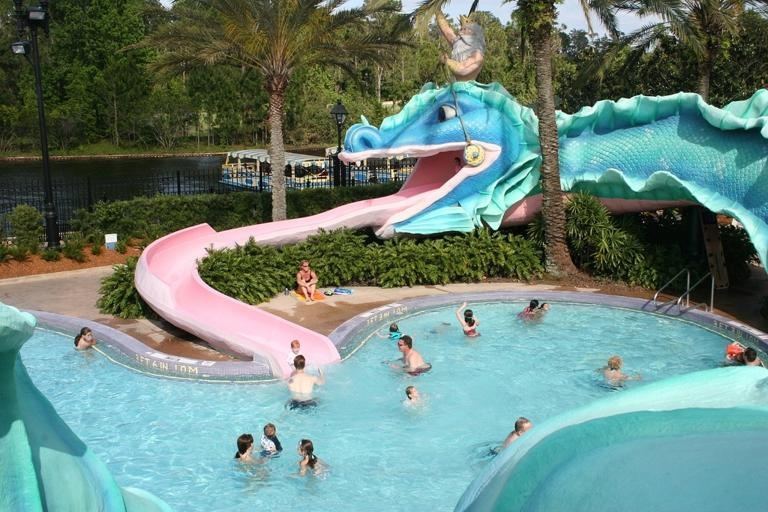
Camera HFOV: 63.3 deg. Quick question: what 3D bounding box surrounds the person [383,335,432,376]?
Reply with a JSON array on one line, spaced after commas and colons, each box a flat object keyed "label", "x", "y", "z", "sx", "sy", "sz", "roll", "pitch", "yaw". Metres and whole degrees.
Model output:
[{"label": "person", "x": 0.477, "y": 1.928, "z": 12.297, "sx": 0.817, "sy": 0.648, "sz": 0.617, "roll": 4, "pitch": 10, "yaw": 10}]

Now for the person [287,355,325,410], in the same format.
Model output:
[{"label": "person", "x": -1.452, "y": 2.343, "z": 11.340, "sx": 0.576, "sy": 1.163, "sz": 0.708, "roll": 4, "pitch": 22, "yaw": 5}]

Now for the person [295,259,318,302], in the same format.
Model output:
[{"label": "person", "x": -1.969, "y": 0.646, "z": 15.999, "sx": 0.550, "sy": 0.923, "sz": 0.854, "roll": -4, "pitch": 14, "yaw": -17}]

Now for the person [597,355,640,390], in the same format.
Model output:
[{"label": "person", "x": 4.480, "y": 2.143, "z": 11.856, "sx": 0.682, "sy": 0.450, "sz": 0.857, "roll": -5, "pitch": 13, "yaw": 4}]

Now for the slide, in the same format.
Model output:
[{"label": "slide", "x": -2.405, "y": 0.592, "z": 15.277, "sx": 5.943, "sy": 1.064, "sz": 4.316, "roll": -24, "pitch": 45, "yaw": -36}]
